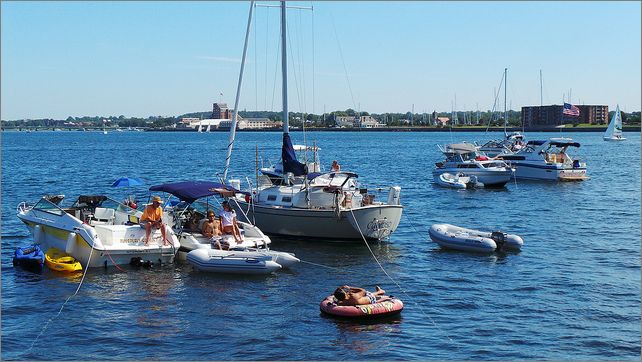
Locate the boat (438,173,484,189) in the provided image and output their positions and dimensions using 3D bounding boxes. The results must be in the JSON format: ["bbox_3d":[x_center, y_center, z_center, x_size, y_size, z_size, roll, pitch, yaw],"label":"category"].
[{"bbox_3d":[12.996,0.095,66.042,2.693,0.870,1.929,3,9,30],"label":"boat"}]

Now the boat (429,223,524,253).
[{"bbox_3d":[9.444,3.629,43.776,3.667,0.810,2.333,1,5,29],"label":"boat"}]

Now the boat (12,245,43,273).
[{"bbox_3d":[-17.009,4.417,40.588,1.740,0.640,1.389,24,32,39],"label":"boat"}]

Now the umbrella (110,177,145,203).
[{"bbox_3d":[-12.474,0.514,44.828,2.189,1.494,1.948,0,0,-1],"label":"umbrella"}]

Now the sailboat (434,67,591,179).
[{"bbox_3d":[22.773,-2.355,71.078,7.275,4.295,5.126,9,13,38],"label":"sailboat"}]
